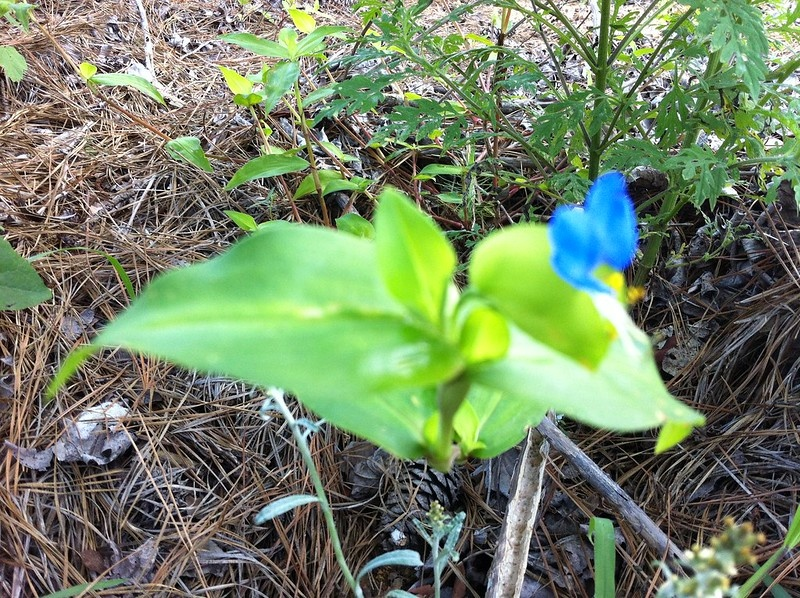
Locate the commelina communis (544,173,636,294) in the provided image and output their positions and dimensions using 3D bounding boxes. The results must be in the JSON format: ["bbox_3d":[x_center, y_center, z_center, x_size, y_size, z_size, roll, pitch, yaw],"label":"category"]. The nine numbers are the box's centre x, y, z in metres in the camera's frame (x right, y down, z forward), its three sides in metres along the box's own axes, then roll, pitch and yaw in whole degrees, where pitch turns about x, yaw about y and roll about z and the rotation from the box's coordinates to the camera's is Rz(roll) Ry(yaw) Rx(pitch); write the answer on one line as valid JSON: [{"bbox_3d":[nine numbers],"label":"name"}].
[{"bbox_3d":[0.454,-0.156,1.574,0.214,0.259,0.157,-14,34,-41],"label":"commelina communis"}]
